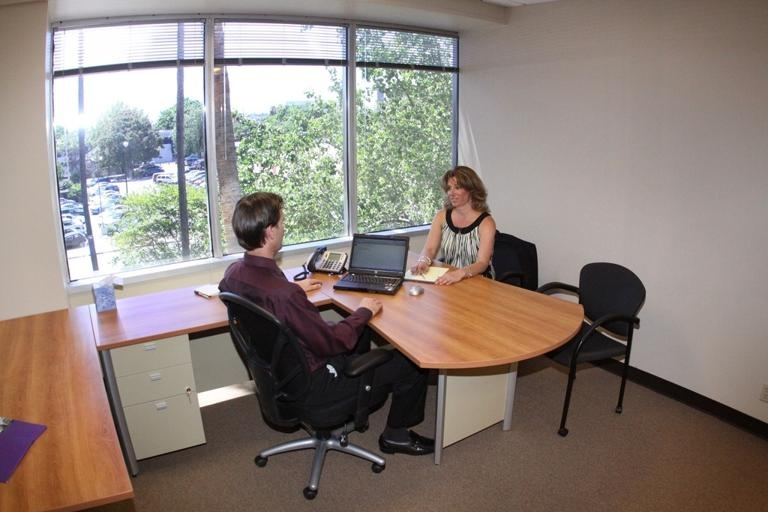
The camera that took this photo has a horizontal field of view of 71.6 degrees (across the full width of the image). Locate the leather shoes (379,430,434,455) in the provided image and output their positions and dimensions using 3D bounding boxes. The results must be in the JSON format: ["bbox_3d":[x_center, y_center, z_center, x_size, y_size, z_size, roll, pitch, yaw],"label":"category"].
[{"bbox_3d":[0.184,1.499,4.326,0.452,0.183,0.182,-3,13,0],"label":"leather shoes"}]

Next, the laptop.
[{"bbox_3d":[-0.064,0.065,4.555,0.554,0.388,0.510,5,23,20],"label":"laptop"}]

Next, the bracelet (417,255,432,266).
[{"bbox_3d":[0.365,0.037,4.825,0.104,0.050,0.091,24,14,13],"label":"bracelet"}]

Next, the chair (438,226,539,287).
[{"bbox_3d":[1.164,-0.010,5.391,0.530,0.672,0.522,8,16,39],"label":"chair"}]
